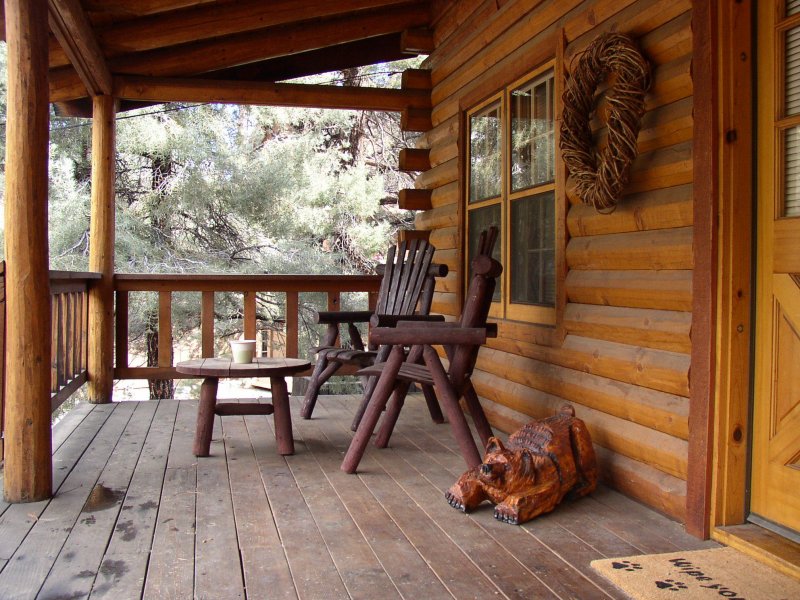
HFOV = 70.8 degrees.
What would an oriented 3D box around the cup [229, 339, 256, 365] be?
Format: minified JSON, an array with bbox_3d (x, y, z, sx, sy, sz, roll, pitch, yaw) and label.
[{"bbox_3d":[-1.087,0.351,3.850,0.159,0.119,0.161,0,-4,0],"label":"cup"}]

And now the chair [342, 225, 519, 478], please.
[{"bbox_3d":[0.121,0.303,3.849,1.159,1.408,1.074,-3,2,-10],"label":"chair"}]

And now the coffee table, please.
[{"bbox_3d":[-1.093,0.654,3.826,0.733,0.448,0.712,1,-2,-4],"label":"coffee table"}]

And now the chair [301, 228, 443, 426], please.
[{"bbox_3d":[-0.225,0.244,4.512,0.897,1.347,1.010,-4,4,-40],"label":"chair"}]

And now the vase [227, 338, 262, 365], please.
[{"bbox_3d":[-1.076,0.348,3.865,0.178,0.132,0.175,0,0,-14],"label":"vase"}]
